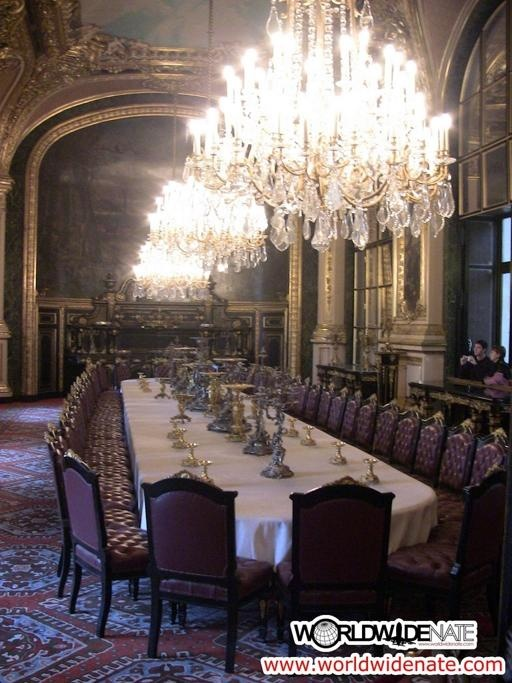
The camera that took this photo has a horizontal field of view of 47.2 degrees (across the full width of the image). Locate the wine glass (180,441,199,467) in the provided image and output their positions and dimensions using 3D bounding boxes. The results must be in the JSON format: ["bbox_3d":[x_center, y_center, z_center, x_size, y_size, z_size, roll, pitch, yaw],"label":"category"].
[{"bbox_3d":[-0.356,0.621,3.258,0.125,0.132,0.124,3,-6,3],"label":"wine glass"}]

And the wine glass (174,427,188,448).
[{"bbox_3d":[-0.465,0.616,3.795,0.123,0.131,0.129,3,-6,-5],"label":"wine glass"}]

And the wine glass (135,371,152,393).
[{"bbox_3d":[-1.570,0.557,8.190,0.205,0.147,0.871,0,6,-9],"label":"wine glass"}]

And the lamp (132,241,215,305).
[{"bbox_3d":[-1.305,-1.041,9.095,1.220,0.795,1.656,1,3,-10],"label":"lamp"}]

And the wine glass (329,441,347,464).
[{"bbox_3d":[0.492,0.664,3.462,0.101,0.109,0.106,1,-6,-2],"label":"wine glass"}]
